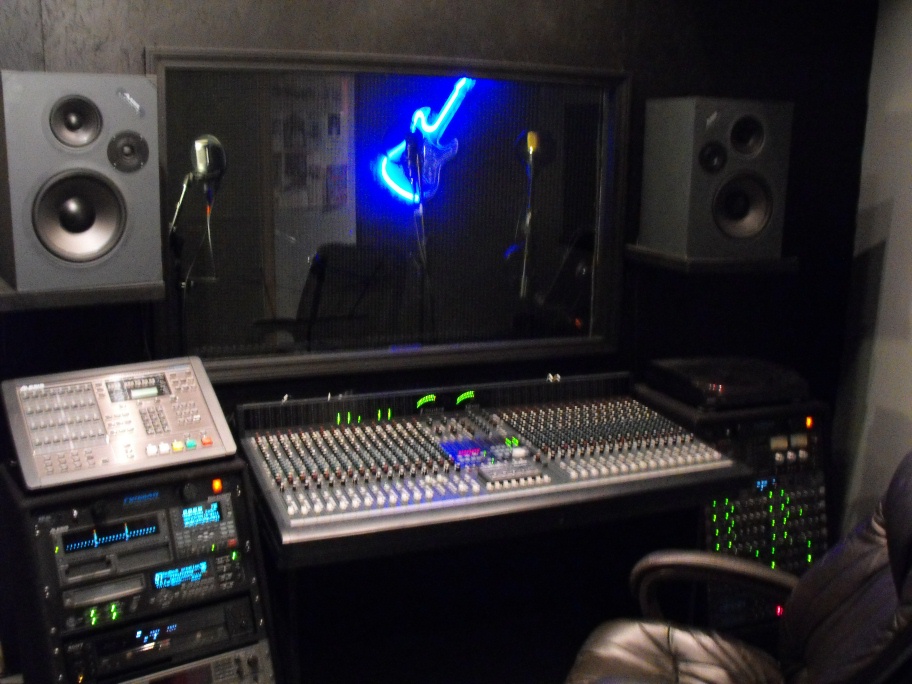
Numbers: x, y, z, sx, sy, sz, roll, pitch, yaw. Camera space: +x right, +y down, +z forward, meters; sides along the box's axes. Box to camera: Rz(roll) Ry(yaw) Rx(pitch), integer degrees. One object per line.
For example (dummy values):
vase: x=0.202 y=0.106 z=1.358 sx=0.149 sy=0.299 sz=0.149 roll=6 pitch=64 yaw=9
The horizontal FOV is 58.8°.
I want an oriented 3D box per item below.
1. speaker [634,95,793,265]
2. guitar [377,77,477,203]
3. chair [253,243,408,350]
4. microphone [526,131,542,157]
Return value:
speaker: x=0.972 y=-0.619 z=3.326 sx=0.553 sy=0.861 sz=0.610 roll=-2 pitch=9 yaw=-19
guitar: x=-0.092 y=-0.796 z=3.070 sx=0.258 sy=0.556 sz=0.092 roll=33 pitch=10 yaw=8
chair: x=-0.489 y=-0.190 z=3.179 sx=0.498 sy=0.506 sz=0.328 roll=3 pitch=6 yaw=-18
microphone: x=0.311 y=-0.773 z=3.148 sx=0.071 sy=0.081 sz=0.015 roll=-13 pitch=19 yaw=-29
